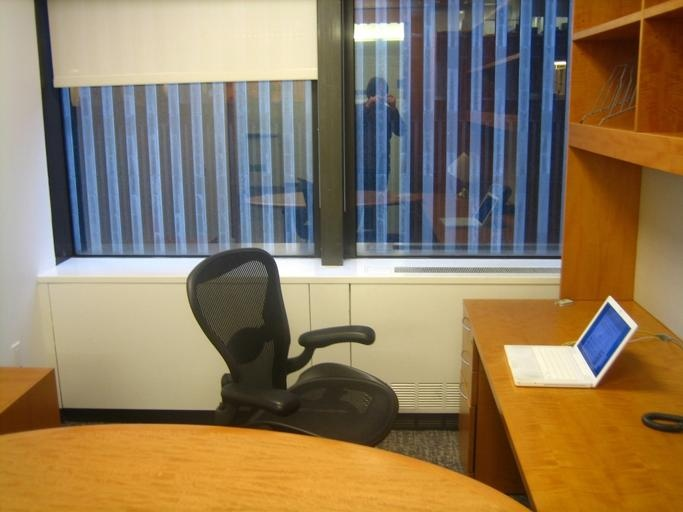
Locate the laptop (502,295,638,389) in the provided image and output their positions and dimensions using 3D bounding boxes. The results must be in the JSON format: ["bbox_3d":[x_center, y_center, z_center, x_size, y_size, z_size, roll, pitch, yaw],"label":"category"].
[{"bbox_3d":[0.938,0.303,2.374,0.377,0.266,0.419,-1,10,6],"label":"laptop"}]

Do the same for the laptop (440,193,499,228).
[{"bbox_3d":[0.859,-0.296,3.794,0.250,0.191,0.259,1,3,-21],"label":"laptop"}]
